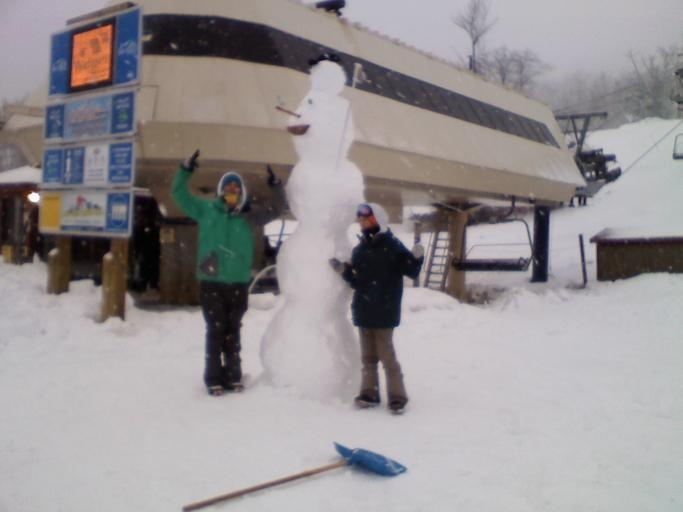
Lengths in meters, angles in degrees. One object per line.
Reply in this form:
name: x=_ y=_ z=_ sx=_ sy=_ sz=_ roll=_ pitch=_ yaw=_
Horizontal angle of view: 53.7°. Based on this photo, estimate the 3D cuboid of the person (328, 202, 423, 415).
person: x=0.391 y=0.539 z=7.470 sx=0.949 sy=2.149 sz=0.667 roll=6 pitch=11 yaw=17

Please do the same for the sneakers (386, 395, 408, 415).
sneakers: x=0.630 y=1.607 z=7.304 sx=0.247 sy=0.155 sz=0.166 roll=-3 pitch=14 yaw=-22

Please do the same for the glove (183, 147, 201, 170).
glove: x=-1.723 y=-1.099 z=7.681 sx=0.177 sy=0.253 sz=0.408 roll=0 pitch=13 yaw=-10

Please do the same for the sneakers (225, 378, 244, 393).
sneakers: x=-1.199 y=1.464 z=7.542 sx=0.207 sy=0.081 sz=0.170 roll=-5 pitch=15 yaw=-28

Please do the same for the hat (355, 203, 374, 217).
hat: x=0.248 y=-0.501 z=7.480 sx=0.113 sy=0.168 sz=0.147 roll=-1 pitch=-24 yaw=20

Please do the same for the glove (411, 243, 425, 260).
glove: x=0.827 y=-0.055 z=7.288 sx=0.105 sy=0.162 sz=0.156 roll=0 pitch=6 yaw=10

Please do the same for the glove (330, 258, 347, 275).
glove: x=-0.041 y=0.099 z=7.472 sx=0.059 sy=0.178 sz=0.129 roll=-47 pitch=-10 yaw=37

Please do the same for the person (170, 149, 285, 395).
person: x=-1.291 y=0.104 z=7.787 sx=0.984 sy=2.597 sz=1.026 roll=12 pitch=15 yaw=42

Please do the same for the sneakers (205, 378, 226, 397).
sneakers: x=-1.390 y=1.445 z=7.456 sx=0.212 sy=0.144 sz=0.179 roll=-1 pitch=13 yaw=-13

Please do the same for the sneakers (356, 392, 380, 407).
sneakers: x=0.284 y=1.586 z=7.413 sx=0.262 sy=0.135 sz=0.104 roll=2 pitch=12 yaw=-2

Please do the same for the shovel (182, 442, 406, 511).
shovel: x=-0.400 y=2.027 z=6.171 sx=1.530 sy=0.150 sz=0.777 roll=-3 pitch=10 yaw=-33
